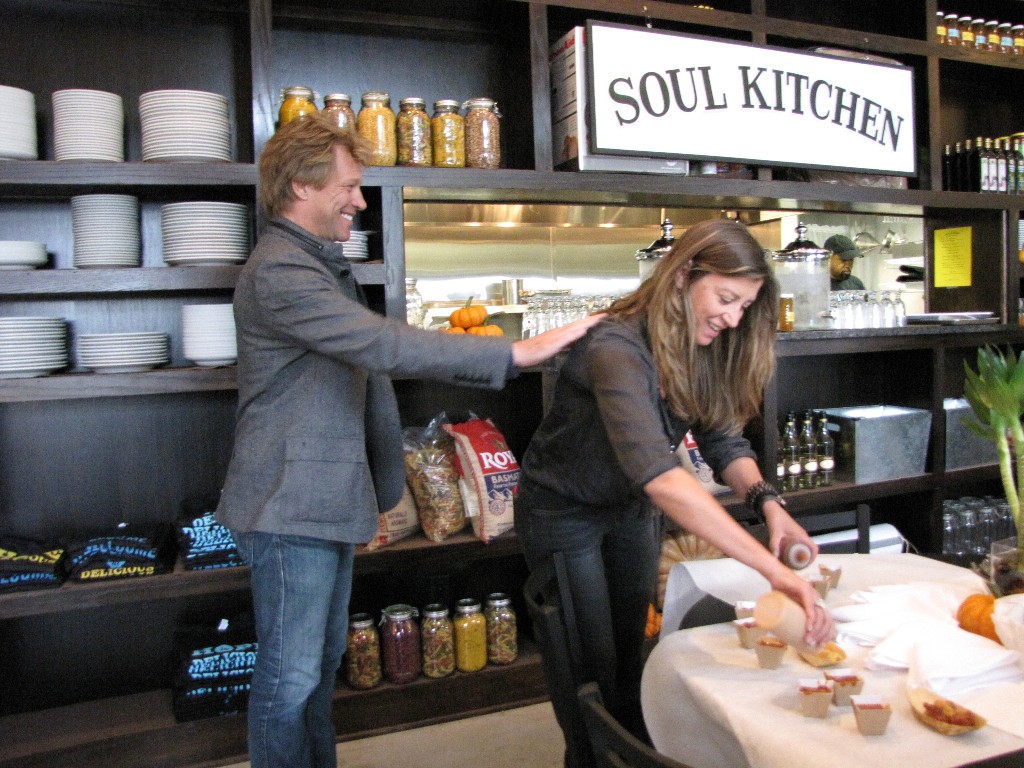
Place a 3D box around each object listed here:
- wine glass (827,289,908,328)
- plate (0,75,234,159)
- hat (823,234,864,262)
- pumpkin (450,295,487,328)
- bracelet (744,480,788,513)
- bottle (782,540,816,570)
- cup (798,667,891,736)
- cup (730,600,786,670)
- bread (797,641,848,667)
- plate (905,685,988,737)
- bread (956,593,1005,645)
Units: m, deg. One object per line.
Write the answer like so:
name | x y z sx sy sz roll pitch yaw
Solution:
wine glass | 1.678 -0.347 3.783 0.255 0.083 0.243 -1 -1 3
plate | -1.392 -0.918 2.792 0.742 0.298 0.192 -2 3 -10
hat | 1.656 -0.695 4.053 0.168 0.126 0.232 -6 16 -26
pumpkin | -0.169 -0.300 3.245 0.141 0.119 0.136 -4 6 22
bracelet | 0.699 0.328 2.164 0.092 0.050 0.099 -20 22 -9
bottle | 0.711 0.423 1.948 0.069 0.066 0.043 -33 9 -8
cup | 0.647 0.611 1.534 0.094 0.040 0.126 2 1 7
cup | 0.562 0.557 1.757 0.101 0.053 0.121 1 6 6
bread | 0.675 0.584 1.699 0.084 0.029 0.084 -1 6 -13
plate | 0.822 0.627 1.508 0.075 0.050 0.132 -4 4 -35
bread | 1.043 0.521 1.763 0.098 0.084 0.092 -1 6 4
